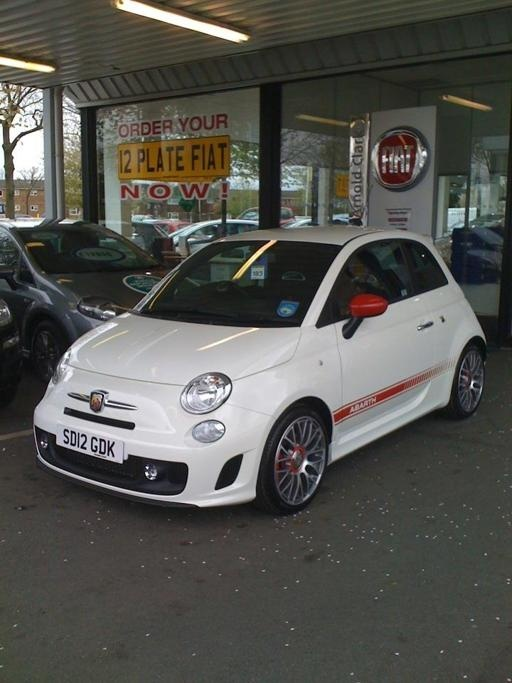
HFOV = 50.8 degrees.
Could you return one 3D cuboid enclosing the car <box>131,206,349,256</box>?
[{"bbox_3d":[-0.124,-1.908,9.518,2.803,0.900,1.267,7,17,30],"label":"car"}]
